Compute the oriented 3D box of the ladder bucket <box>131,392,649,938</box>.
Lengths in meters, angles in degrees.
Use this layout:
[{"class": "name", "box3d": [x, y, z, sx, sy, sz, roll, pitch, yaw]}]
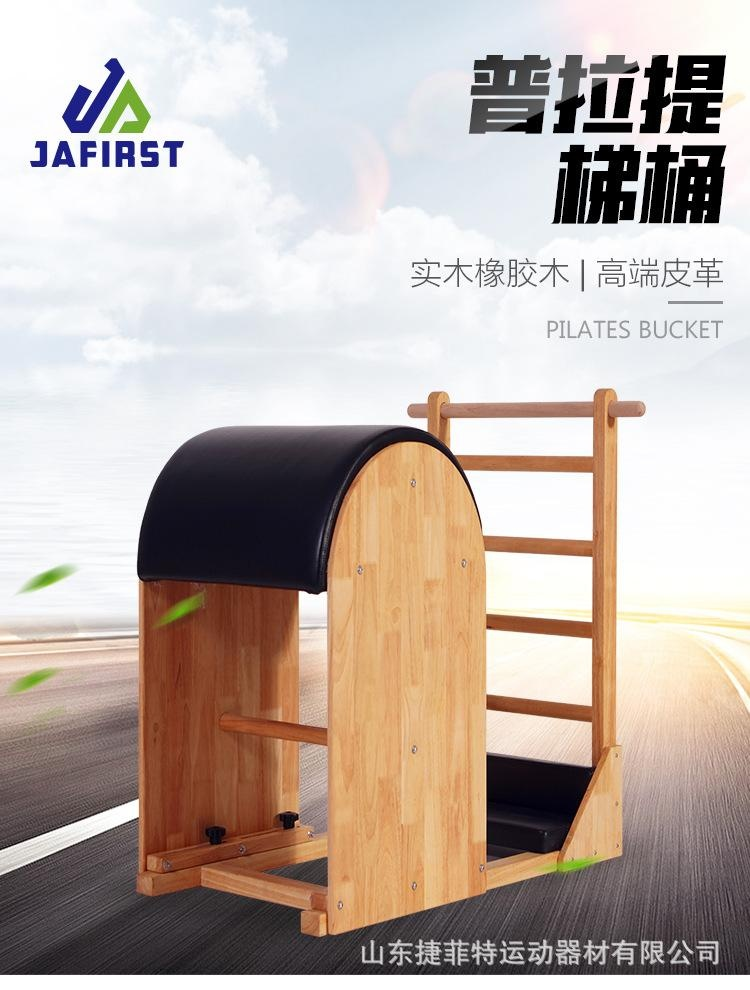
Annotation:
[{"class": "ladder bucket", "box3d": [0.126, 0.360, 2.102, 0.937, 1.167, 0.888, 1, -4, 0]}]
